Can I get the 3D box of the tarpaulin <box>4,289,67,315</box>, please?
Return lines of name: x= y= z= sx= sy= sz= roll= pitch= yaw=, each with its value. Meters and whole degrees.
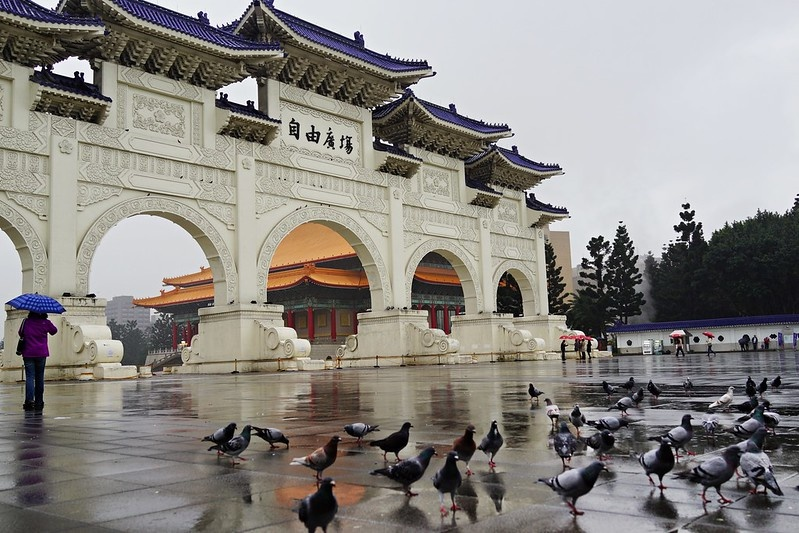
tarpaulin: x=-7.863 y=0.763 z=16.606 sx=1.193 sy=0.361 sz=1.162 roll=1 pitch=-9 yaw=12
